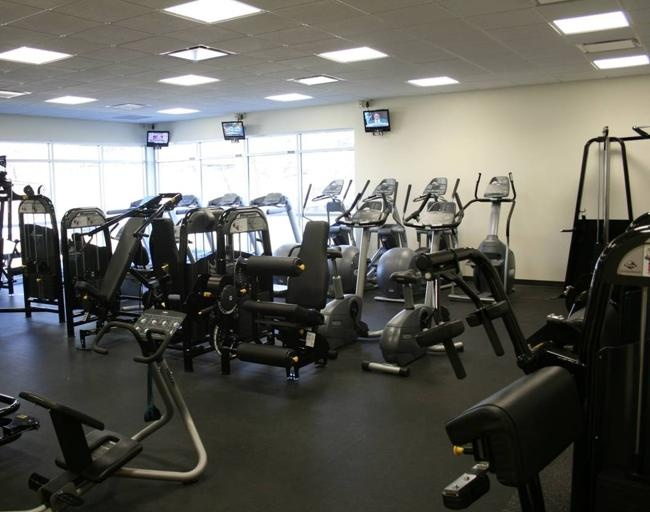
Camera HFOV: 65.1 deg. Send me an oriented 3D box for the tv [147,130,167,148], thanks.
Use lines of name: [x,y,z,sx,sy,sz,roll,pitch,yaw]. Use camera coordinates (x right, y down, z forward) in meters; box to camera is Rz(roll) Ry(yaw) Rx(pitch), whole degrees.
tv: [-4.135,-2.913,12.622,0.519,0.396,0.233,-5,10,-19]

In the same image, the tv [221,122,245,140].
tv: [-2.031,-2.798,11.325,0.455,0.441,0.147,-4,15,-14]

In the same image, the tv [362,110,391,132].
tv: [1.009,-2.618,9.815,0.423,0.383,0.150,3,13,22]
